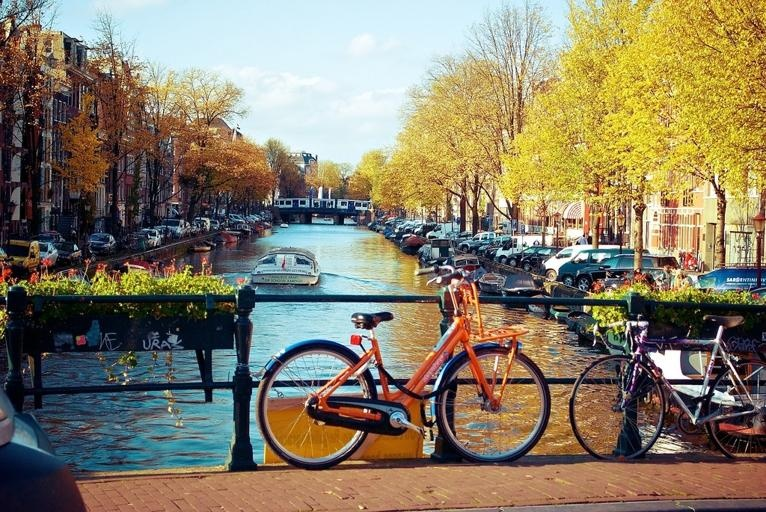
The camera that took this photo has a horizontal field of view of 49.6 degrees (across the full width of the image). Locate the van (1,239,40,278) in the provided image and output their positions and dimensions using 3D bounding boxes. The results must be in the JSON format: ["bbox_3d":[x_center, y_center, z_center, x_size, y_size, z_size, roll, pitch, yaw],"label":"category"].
[{"bbox_3d":[-15.070,0.077,34.521,1.641,1.468,2.707,0,-3,-1],"label":"van"}]

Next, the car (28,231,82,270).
[{"bbox_3d":[-17.068,-0.284,43.010,2.074,1.520,4.493,0,-4,-8],"label":"car"}]

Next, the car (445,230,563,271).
[{"bbox_3d":[8.977,-1.001,51.999,9.945,3.418,3.769,1,-2,-4],"label":"car"}]

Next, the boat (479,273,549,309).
[{"bbox_3d":[5.307,1.200,34.027,1.847,1.278,5.503,0,-9,-1],"label":"boat"}]
